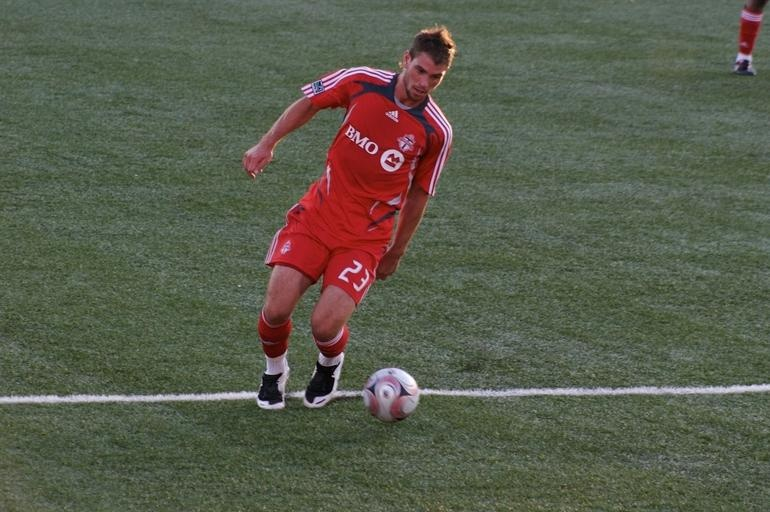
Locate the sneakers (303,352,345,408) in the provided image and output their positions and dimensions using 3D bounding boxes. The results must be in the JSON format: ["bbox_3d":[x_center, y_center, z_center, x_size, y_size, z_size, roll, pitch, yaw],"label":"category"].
[{"bbox_3d":[-0.473,1.022,12.506,0.230,0.501,0.218,21,-18,13],"label":"sneakers"}]
